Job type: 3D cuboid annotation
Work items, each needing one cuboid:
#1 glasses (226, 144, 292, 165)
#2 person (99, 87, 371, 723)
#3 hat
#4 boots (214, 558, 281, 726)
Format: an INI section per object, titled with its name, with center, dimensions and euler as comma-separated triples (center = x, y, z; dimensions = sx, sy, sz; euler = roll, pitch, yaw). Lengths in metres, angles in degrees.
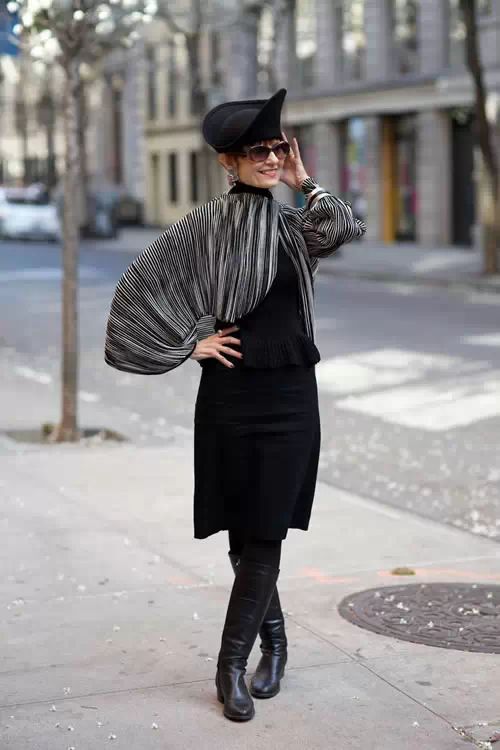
[glasses]
center = 0.034, -0.590, 2.461
dimensions = 0.097, 0.028, 0.085
euler = -3, 8, 45
[person]
center = -0.071, 0.051, 2.645
dimensions = 0.569, 1.655, 0.520
euler = 6, 7, 34
[hat]
center = -0.018, -0.692, 2.542
dimensions = 0.289, 0.116, 0.305
euler = -13, 15, -13
[boots]
center = -0.016, 0.695, 2.478
dimensions = 0.149, 0.378, 0.244
euler = 3, 5, 4
